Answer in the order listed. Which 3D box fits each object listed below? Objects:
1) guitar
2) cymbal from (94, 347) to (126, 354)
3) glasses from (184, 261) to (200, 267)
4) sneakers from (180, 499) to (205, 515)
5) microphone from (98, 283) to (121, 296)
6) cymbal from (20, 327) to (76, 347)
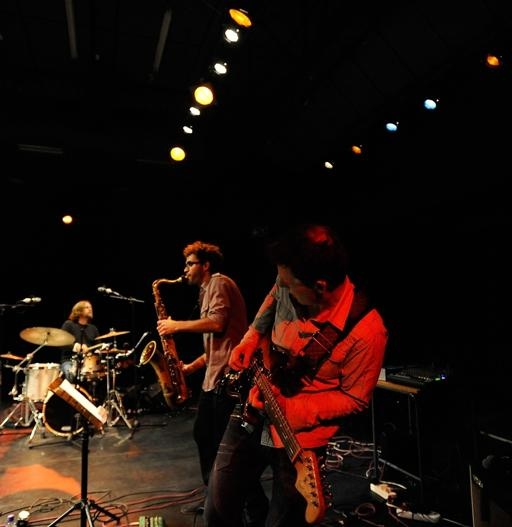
[{"bbox_3d":[0.098,0.812,2.382,0.196,0.724,0.648,8,-12,-33],"label":"guitar"},{"bbox_3d":[-1.911,1.170,6.566,0.176,0.062,0.214,1,-18,-3],"label":"cymbal"},{"bbox_3d":[-0.505,-0.002,3.869,0.074,0.029,0.057,-5,-2,26],"label":"glasses"},{"bbox_3d":[-0.492,1.929,3.879,0.267,0.109,0.097,2,-15,3],"label":"sneakers"},{"bbox_3d":[-2.189,0.381,7.300,0.481,0.100,0.130,11,-26,45],"label":"microphone"},{"bbox_3d":[-2.740,0.953,6.465,0.631,0.246,0.346,-1,-11,10],"label":"cymbal"}]
